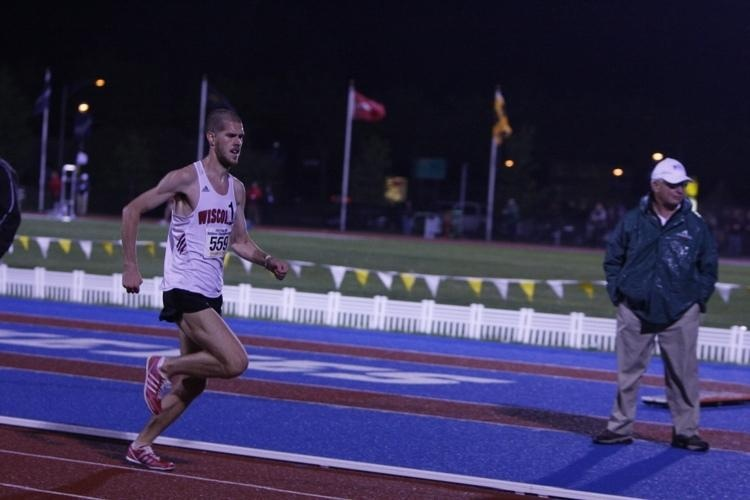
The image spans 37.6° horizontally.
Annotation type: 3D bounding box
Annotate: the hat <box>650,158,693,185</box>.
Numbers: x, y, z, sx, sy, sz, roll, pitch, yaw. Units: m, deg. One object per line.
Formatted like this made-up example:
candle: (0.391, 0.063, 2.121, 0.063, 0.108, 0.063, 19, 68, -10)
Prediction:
hat: (4.099, -1.123, 15.504, 0.361, 0.250, 0.474, 0, 3, -32)

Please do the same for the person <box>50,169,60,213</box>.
person: (-12.243, -2.210, 41.750, 0.412, 1.542, 0.912, -1, 15, -17)

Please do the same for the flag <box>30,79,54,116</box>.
flag: (-10.801, -4.812, 35.394, 0.505, 1.049, 2.621, -2, 14, -18)

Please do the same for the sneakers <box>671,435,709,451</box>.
sneakers: (4.376, 2.681, 15.353, 0.549, 0.204, 0.193, -1, -6, 21)

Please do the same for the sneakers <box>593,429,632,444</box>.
sneakers: (3.314, 2.640, 15.548, 0.550, 0.219, 0.210, 4, -5, 1)

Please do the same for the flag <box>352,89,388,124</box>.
flag: (-0.182, -2.531, 19.903, 0.659, 0.378, 0.307, 18, -5, 5)

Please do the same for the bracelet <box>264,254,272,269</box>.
bracelet: (-1.429, 0.154, 14.399, 0.131, 0.148, 0.161, 0, 0, -3)

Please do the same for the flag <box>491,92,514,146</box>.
flag: (2.423, -2.563, 21.140, 0.394, 1.073, 0.807, 3, 14, 1)
